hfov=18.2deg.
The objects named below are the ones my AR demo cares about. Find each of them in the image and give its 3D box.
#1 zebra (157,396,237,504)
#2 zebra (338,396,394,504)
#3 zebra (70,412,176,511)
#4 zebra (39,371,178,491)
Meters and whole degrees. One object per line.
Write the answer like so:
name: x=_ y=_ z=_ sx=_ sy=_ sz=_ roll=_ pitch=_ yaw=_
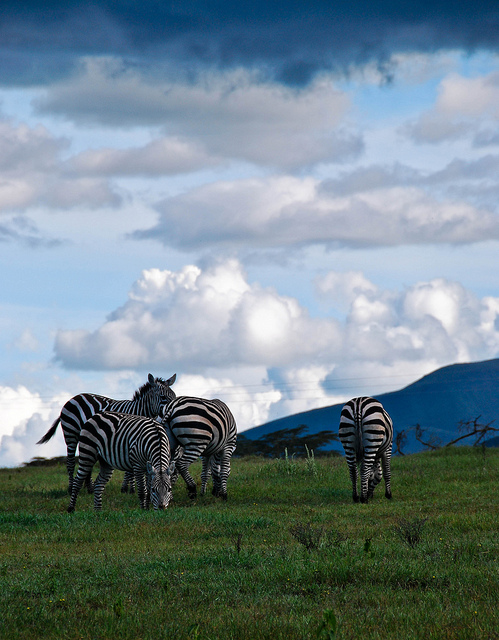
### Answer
zebra: x=-0.867 y=2.575 z=32.221 sx=0.807 sy=2.371 sz=2.633 roll=8 pitch=-6 yaw=26
zebra: x=2.549 y=2.642 z=32.459 sx=0.754 sy=2.487 sz=3.150 roll=-1 pitch=-9 yaw=18
zebra: x=-2.361 y=2.775 z=30.104 sx=0.784 sy=1.913 sz=2.812 roll=2 pitch=1 yaw=-44
zebra: x=-3.011 y=2.612 z=33.452 sx=3.417 sy=3.029 sz=0.782 roll=4 pitch=-3 yaw=-41
